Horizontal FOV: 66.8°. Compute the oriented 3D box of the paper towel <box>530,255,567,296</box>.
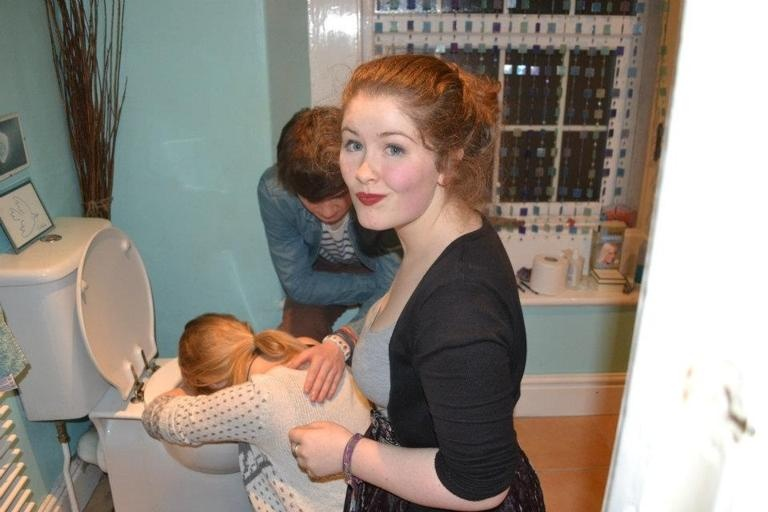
[{"bbox_3d":[0.735,0.081,2.596,0.146,0.162,0.150,-15,26,-24],"label":"paper towel"}]

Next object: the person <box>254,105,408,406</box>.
[{"bbox_3d":[-0.182,0.099,2.295,0.479,1.354,0.871,-4,32,1],"label":"person"}]

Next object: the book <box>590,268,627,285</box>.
[{"bbox_3d":[0.995,0.085,2.596,0.084,0.021,0.079,3,24,7],"label":"book"}]

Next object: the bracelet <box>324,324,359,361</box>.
[{"bbox_3d":[-0.144,0.259,1.717,0.108,0.048,0.083,35,37,17],"label":"bracelet"}]
